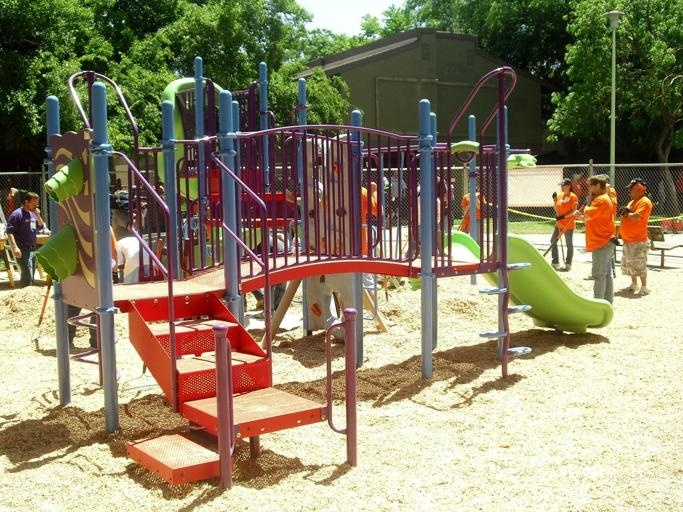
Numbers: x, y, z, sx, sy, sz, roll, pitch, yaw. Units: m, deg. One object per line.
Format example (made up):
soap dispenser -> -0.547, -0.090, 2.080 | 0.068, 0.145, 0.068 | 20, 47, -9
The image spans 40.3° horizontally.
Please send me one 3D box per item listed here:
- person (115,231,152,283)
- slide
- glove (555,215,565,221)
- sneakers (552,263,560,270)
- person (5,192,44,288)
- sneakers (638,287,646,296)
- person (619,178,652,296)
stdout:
person -> -2.818, 0.024, 12.581 | 0.411, 0.776, 0.621 | -6, 8, -30
slide -> 2.665, 0.570, 13.070 | 2.455, 0.763, 1.181 | 29, -13, -28
glove -> 4.135, -0.730, 17.650 | 0.168, 0.128, 0.234 | 1, 10, 16
sneakers -> 4.075, 0.198, 17.761 | 0.112, 0.093, 0.120 | 1, 1, 10
person -> -5.811, -0.320, 17.116 | 0.637, 1.751, 1.181 | -5, 10, -18
sneakers -> 5.176, 0.584, 16.003 | 0.170, 0.112, 0.352 | 3, 10, 22
person -> 5.104, -0.324, 16.229 | 0.494, 1.888, 1.012 | 2, 10, 18
